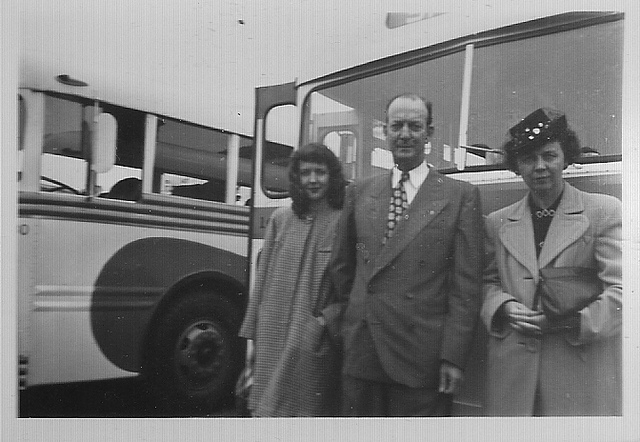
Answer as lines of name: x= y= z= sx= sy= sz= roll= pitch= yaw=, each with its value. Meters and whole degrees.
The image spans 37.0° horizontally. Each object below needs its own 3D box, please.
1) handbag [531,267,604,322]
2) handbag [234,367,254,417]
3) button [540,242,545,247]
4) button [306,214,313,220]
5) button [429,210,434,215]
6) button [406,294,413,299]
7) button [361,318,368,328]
handbag: x=1.086 y=0.318 z=4.210 sx=0.255 sy=0.193 sz=0.211 roll=0 pitch=2 yaw=-17
handbag: x=-0.346 y=0.775 z=4.272 sx=0.038 sy=0.158 sz=0.114 roll=5 pitch=-2 yaw=-11
button: x=0.972 y=0.105 z=4.202 sx=0.016 sy=0.019 sz=0.003 roll=3 pitch=0 yaw=-7
button: x=-0.043 y=-0.017 z=4.213 sx=0.026 sy=0.025 sz=0.006 roll=6 pitch=1 yaw=4
button: x=0.490 y=-0.037 z=4.197 sx=0.018 sy=0.017 sz=0.010 roll=1 pitch=10 yaw=11
button: x=0.391 y=0.329 z=4.209 sx=0.020 sy=0.021 sz=0.013 roll=-1 pitch=9 yaw=7
button: x=0.195 y=0.446 z=4.218 sx=0.036 sy=0.034 sz=0.009 roll=3 pitch=6 yaw=28
